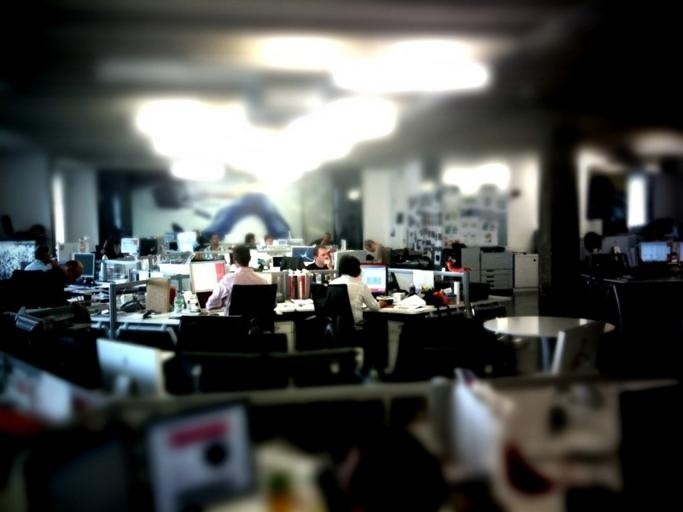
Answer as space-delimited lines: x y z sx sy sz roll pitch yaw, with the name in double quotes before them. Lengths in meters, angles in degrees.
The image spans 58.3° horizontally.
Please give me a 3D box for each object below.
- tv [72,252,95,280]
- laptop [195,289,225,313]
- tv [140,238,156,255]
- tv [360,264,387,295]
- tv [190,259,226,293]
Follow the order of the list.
"tv" -3.226 0.118 7.703 0.294 0.306 0.071 5 5 22
"laptop" -1.270 0.422 5.883 0.193 0.165 0.221 1 0 41
"tv" -2.625 -0.131 8.338 0.200 0.198 0.105 2 -5 -32
"tv" 0.349 0.208 6.233 0.334 0.341 0.251 0 2 7
"tv" -1.291 0.181 5.994 0.247 0.328 0.459 1 2 43
